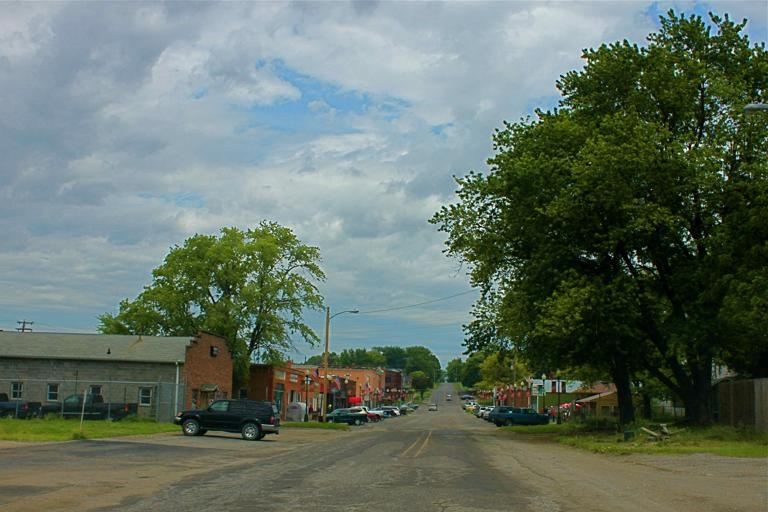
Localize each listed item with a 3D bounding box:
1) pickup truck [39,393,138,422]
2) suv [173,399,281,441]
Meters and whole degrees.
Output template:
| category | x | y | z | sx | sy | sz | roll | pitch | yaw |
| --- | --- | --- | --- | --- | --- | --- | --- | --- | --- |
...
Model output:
| category | x | y | z | sx | sy | sz | roll | pitch | yaw |
| --- | --- | --- | --- | --- | --- | --- | --- | --- | --- |
| pickup truck | -19.799 | 9.939 | 56.558 | 6.128 | 1.938 | 2.646 | 4 | -16 | -21 |
| suv | -8.983 | 9.432 | 49.746 | 5.664 | 1.842 | 2.541 | 2 | -9 | 9 |
